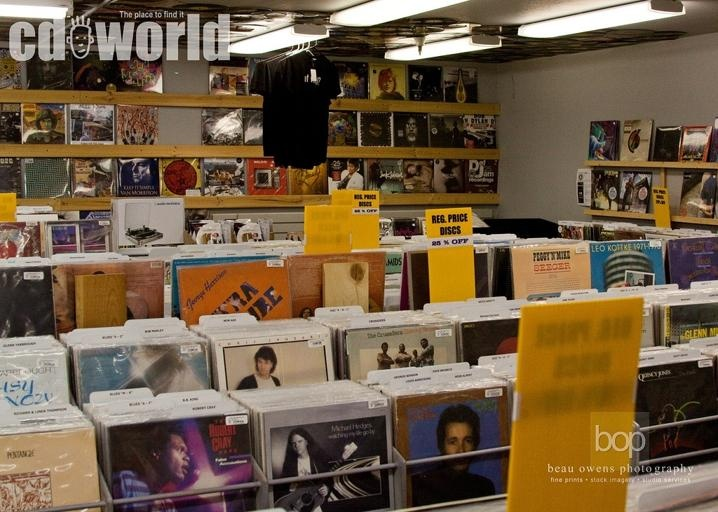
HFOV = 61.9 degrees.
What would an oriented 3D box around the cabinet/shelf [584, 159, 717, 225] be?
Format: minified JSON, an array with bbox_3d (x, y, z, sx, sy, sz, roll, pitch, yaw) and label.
[{"bbox_3d":[3.797,-0.842,7.873,0.559,0.844,1.925,-5,9,-13],"label":"cabinet/shelf"}]

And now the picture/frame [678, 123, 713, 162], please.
[{"bbox_3d":[4.112,-1.380,7.327,0.091,0.616,0.524,4,-4,-24],"label":"picture/frame"}]

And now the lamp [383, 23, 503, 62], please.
[{"bbox_3d":[1.008,-2.728,7.829,1.128,0.385,2.264,-4,8,-6],"label":"lamp"}]
